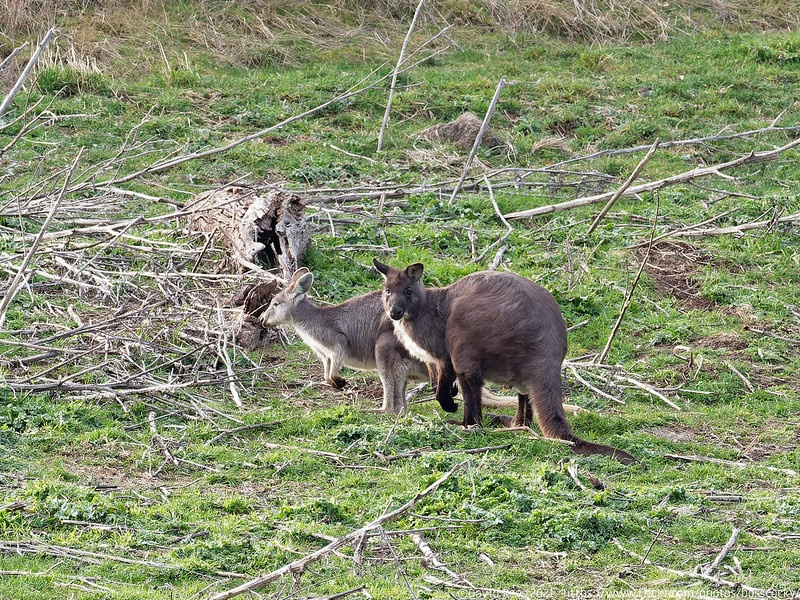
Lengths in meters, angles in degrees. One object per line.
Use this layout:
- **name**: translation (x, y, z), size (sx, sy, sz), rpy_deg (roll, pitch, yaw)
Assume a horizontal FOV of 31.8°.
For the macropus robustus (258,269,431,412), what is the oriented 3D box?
- **macropus robustus**: translation (-0.394, 0.400, 14.477), size (2.185, 1.334, 0.714), rpy_deg (7, 10, 24)
